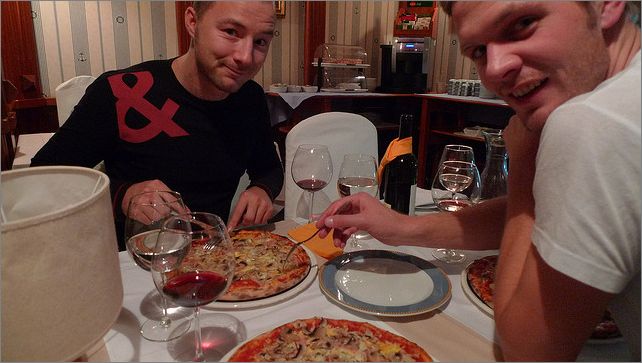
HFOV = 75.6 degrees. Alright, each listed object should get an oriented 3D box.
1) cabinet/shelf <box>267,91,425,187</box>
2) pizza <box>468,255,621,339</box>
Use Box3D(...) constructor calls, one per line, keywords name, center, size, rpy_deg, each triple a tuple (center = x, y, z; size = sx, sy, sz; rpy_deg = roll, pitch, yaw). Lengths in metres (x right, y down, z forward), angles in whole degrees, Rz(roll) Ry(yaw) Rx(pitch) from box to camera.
Box3D(name="cabinet/shelf", center=(0.275, -0.405, 4.749), size=(1.880, 1.247, 0.688), rpy_deg=(0, 8, 19))
Box3D(name="pizza", center=(0.616, 0.352, 1.284), size=(0.242, 0.027, 0.248), rpy_deg=(11, 26, 26))
